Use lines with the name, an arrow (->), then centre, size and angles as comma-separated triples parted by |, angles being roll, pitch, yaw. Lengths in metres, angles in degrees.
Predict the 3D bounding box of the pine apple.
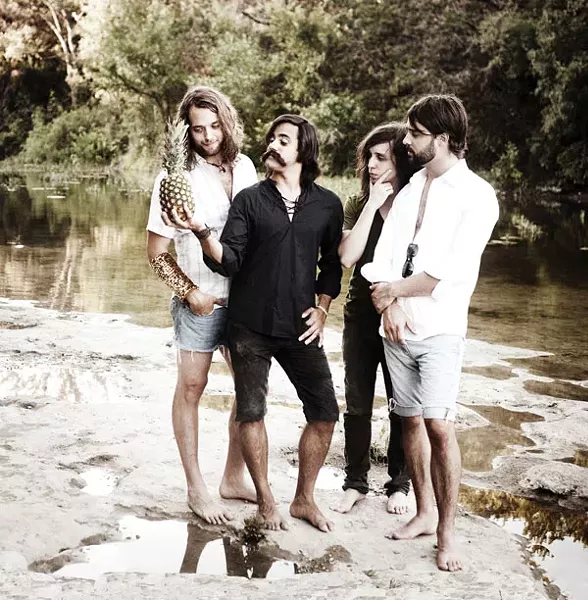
pine apple -> -0.400, -0.453, 2.297 | 0.116, 0.350, 0.213 | 2, 6, -15

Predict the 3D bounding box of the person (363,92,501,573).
person -> 0.434, 0.125, 2.544 | 0.428, 1.775, 0.503 | 6, 12, 14

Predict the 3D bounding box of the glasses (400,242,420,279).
glasses -> 0.439, -0.153, 2.557 | 0.035, 0.153, 0.044 | 14, -9, 27

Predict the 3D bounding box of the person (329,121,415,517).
person -> 0.366, 0.131, 2.924 | 0.378, 1.662, 0.423 | -1, 7, -14

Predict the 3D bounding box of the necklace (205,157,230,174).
necklace -> -0.299, -0.532, 2.659 | 0.045, 0.034, 0.074 | -5, -12, 43

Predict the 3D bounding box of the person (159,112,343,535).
person -> -0.087, 0.101, 2.581 | 0.624, 1.603, 0.388 | 2, 6, -15
